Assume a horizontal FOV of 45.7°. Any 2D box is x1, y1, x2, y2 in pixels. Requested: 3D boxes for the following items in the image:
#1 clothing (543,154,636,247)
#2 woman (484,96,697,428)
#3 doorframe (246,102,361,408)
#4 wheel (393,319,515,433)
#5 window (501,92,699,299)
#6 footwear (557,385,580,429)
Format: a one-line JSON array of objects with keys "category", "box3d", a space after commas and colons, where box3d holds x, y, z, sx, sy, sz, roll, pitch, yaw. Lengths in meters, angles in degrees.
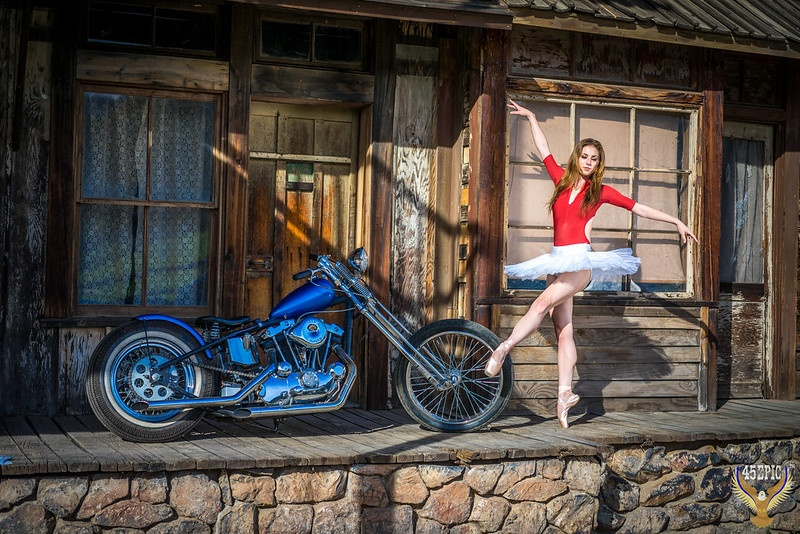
[{"category": "clothing", "box3d": [1.520, -0.585, 8.224, 1.009, 0.833, 0.272, 14, 24, 18]}, {"category": "woman", "box3d": [1.485, -0.134, 8.298, 1.609, 2.896, 1.066, 5, -11, -12]}, {"category": "doorframe", "box3d": [-1.003, -0.532, 9.255, 1.065, 2.373, 0.220, 0, 36, -10]}, {"category": "wheel", "box3d": [0.470, 0.988, 8.252, 1.018, 1.177, 0.182, 6, -38, 2]}, {"category": "window", "box3d": [1.747, -0.656, 8.770, 1.509, 1.721, 0.307, 9, -14, -24]}, {"category": "footwear", "box3d": [1.449, 1.196, 8.314, 0.147, 0.442, 0.139, 3, 14, 10]}]
